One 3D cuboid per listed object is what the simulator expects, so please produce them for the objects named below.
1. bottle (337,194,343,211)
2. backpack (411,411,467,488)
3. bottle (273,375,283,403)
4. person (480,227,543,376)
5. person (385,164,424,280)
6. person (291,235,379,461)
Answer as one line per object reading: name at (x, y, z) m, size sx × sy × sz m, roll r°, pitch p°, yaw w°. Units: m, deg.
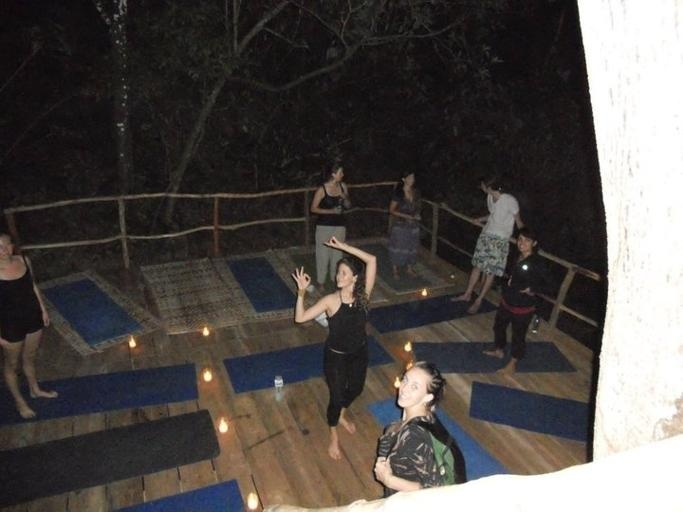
bottle at (-0.002, -0.780, 6.912) m, size 0.043 × 0.215 × 0.099 m, roll 3°, pitch 8°, yaw 29°
backpack at (0.619, 1.144, 2.749) m, size 0.273 × 0.336 × 0.353 m, roll -4°, pitch 8°, yaw -29°
bottle at (-0.727, 1.546, 5.504) m, size 0.077 × 0.069 × 0.289 m, roll 0°, pitch 42°, yaw -10°
person at (2.136, 0.570, 5.776) m, size 0.502 × 1.849 × 0.738 m, roll 1°, pitch 7°, yaw 10°
person at (1.078, -0.471, 7.943) m, size 0.492 × 1.820 × 1.392 m, roll 0°, pitch 7°, yaw 8°
person at (-0.022, 0.904, 4.432) m, size 0.668 × 2.165 × 0.708 m, roll 0°, pitch 7°, yaw 8°
